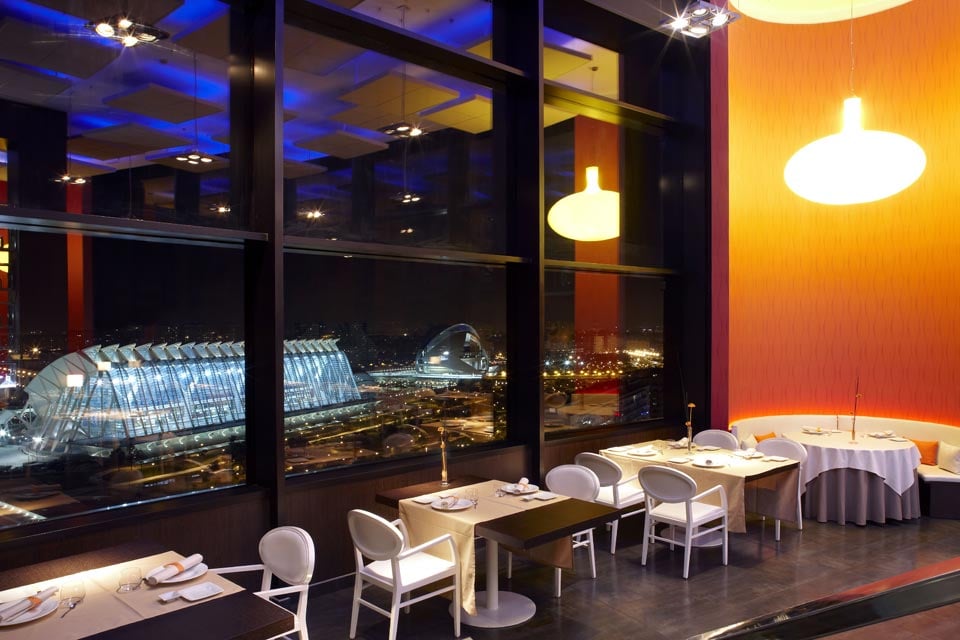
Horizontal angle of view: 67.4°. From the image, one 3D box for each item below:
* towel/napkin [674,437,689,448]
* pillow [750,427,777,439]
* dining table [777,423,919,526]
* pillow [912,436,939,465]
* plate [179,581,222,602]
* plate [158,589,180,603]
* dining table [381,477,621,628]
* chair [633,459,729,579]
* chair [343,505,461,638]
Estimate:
[{"bbox_3d":[2.280,1.382,8.108,0.161,0.054,0.120,1,-1,-41],"label":"towel/napkin"},{"bbox_3d":[3.641,1.473,9.247,0.175,0.068,0.167,-12,25,10],"label":"pillow"},{"bbox_3d":[4.196,1.731,8.197,1.062,0.545,1.022,0,-3,1],"label":"dining table"},{"bbox_3d":[5.233,1.549,8.433,0.115,0.232,0.292,37,-12,-27],"label":"pillow"},{"bbox_3d":[-1.851,1.794,4.773,0.159,0.031,0.111,1,10,-39],"label":"plate"},{"bbox_3d":[-2.046,1.817,4.735,0.069,0.020,0.073,8,10,31],"label":"plate"},{"bbox_3d":[0.173,1.955,5.976,1.105,0.780,1.454,-2,1,-44],"label":"dining table"},{"bbox_3d":[2.039,1.845,7.082,0.824,0.999,1.114,4,9,28],"label":"chair"},{"bbox_3d":[-0.630,1.978,5.826,0.912,1.083,0.829,-3,9,-15],"label":"chair"}]
